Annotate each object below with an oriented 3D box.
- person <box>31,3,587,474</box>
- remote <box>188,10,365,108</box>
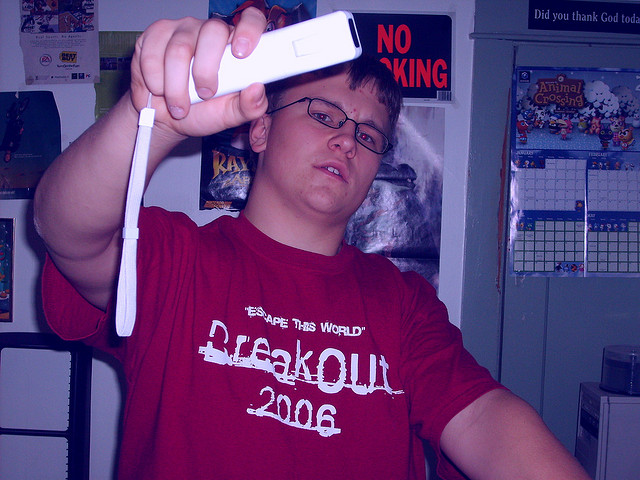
[{"bbox_3d":[-0.166,0.125,2.058,1.039,1.609,0.673,-1,29,-1],"label":"person"},{"bbox_3d":[-0.103,-0.431,1.567,0.511,0.188,0.059,-12,1,13],"label":"remote"}]
